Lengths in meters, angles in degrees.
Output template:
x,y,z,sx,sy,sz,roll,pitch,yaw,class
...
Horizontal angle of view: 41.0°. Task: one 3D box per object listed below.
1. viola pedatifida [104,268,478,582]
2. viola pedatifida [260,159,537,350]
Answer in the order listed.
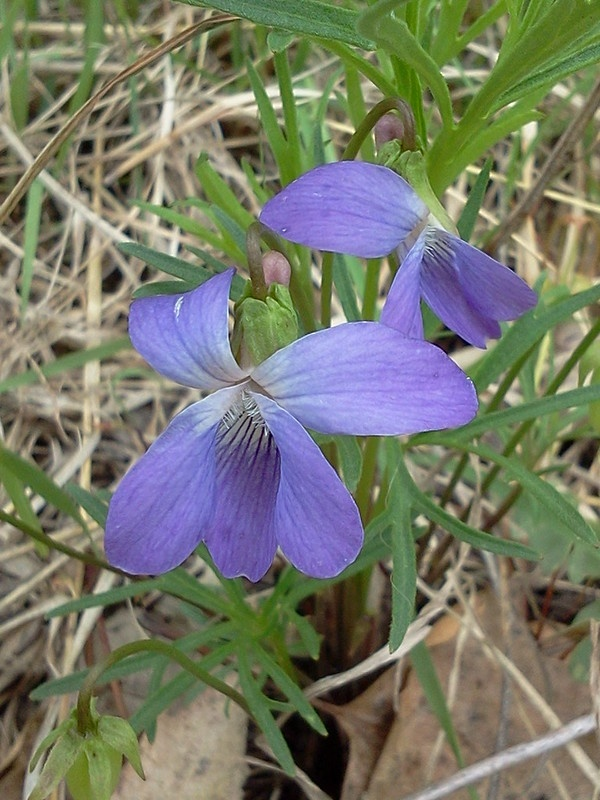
x,y,z,sx,sy,sz,roll,pitch,yaw,class
-0.017,0.056,1.328,0.583,0.380,0.434,5,62,1,viola pedatifida
0.170,-0.285,1.521,0.392,0.364,0.632,5,32,7,viola pedatifida
